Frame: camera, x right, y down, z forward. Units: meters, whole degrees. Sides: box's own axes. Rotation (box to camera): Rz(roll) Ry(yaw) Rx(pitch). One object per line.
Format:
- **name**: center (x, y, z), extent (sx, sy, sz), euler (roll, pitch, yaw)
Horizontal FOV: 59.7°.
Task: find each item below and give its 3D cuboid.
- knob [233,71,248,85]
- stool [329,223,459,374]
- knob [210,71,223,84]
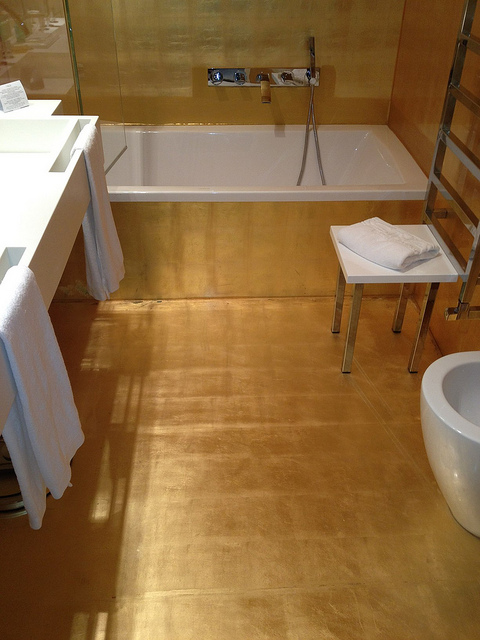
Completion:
- **knob**: center (0.000, -1.387, 2.383), extent (0.048, 0.083, 0.028), euler (-5, 19, -8)
- **stool**: center (0.480, -0.072, 1.480), extent (0.307, 0.342, 0.413), euler (10, 58, 3)
- **knob**: center (-0.136, -1.382, 2.374), extent (0.067, 0.063, 0.022), euler (4, 31, 8)
